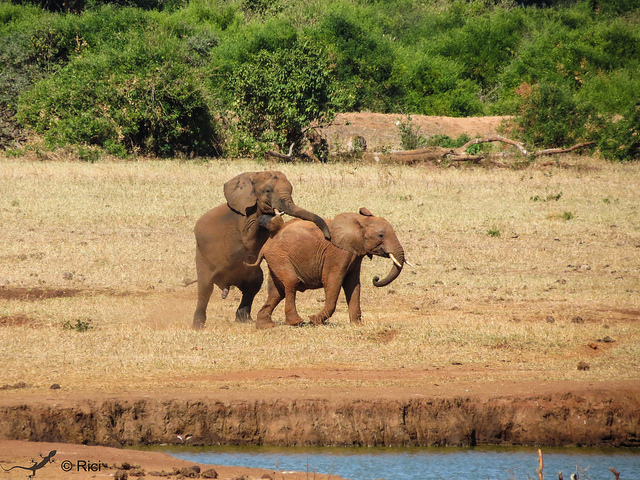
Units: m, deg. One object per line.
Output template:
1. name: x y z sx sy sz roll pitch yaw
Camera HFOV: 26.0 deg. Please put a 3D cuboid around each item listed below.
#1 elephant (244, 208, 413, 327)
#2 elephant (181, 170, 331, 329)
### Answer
1. elephant: 0.228 0.781 35.718 4.332 3.073 1.972 0 1 7
2. elephant: -1.569 0.332 35.339 5.000 3.939 1.857 -6 -5 40
